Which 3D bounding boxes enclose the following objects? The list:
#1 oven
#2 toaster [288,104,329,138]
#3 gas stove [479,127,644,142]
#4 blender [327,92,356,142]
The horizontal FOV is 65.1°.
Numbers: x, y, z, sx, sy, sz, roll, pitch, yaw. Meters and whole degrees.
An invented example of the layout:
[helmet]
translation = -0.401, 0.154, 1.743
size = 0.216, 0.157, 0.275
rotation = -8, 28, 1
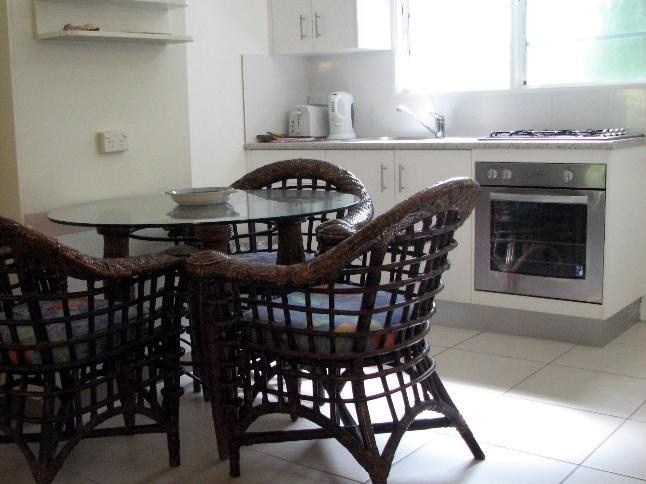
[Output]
[oven]
translation = 1.390, -0.105, 3.066
size = 0.568, 0.770, 0.752
rotation = -16, 16, -42
[toaster]
translation = -0.082, -0.979, 4.152
size = 0.268, 0.255, 0.377
rotation = 13, 19, 36
[gas stove]
translation = 1.443, -0.636, 3.031
size = 0.819, 0.097, 0.685
rotation = 3, 10, 31
[blender]
translation = 0.170, -0.993, 3.979
size = 0.160, 0.373, 0.323
rotation = 5, 11, 40
